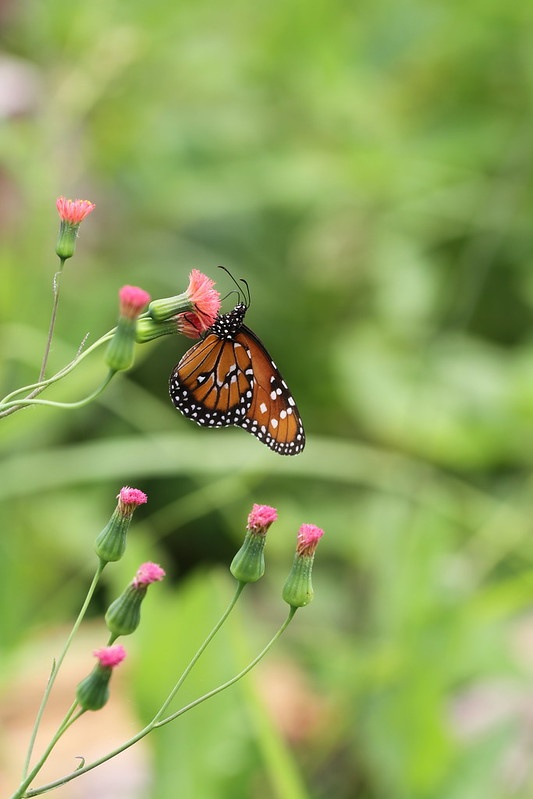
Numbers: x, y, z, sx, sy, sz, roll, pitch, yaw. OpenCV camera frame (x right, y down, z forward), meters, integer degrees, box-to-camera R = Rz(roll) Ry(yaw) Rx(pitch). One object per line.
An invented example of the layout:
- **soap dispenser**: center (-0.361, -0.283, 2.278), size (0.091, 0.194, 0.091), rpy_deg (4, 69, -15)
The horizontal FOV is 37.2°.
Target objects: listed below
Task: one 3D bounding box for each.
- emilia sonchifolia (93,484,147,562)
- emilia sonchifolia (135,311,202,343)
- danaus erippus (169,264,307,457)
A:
- **emilia sonchifolia**: center (-0.141, 0.126, 0.773), size (0.045, 0.106, 0.103), rpy_deg (-1, 31, -10)
- **emilia sonchifolia**: center (-0.090, -0.067, 0.739), size (0.054, 0.024, 0.029), rpy_deg (-4, 22, -45)
- **danaus erippus**: center (-0.024, -0.026, 0.912), size (0.151, 0.159, 0.144), rpy_deg (6, 30, 3)
